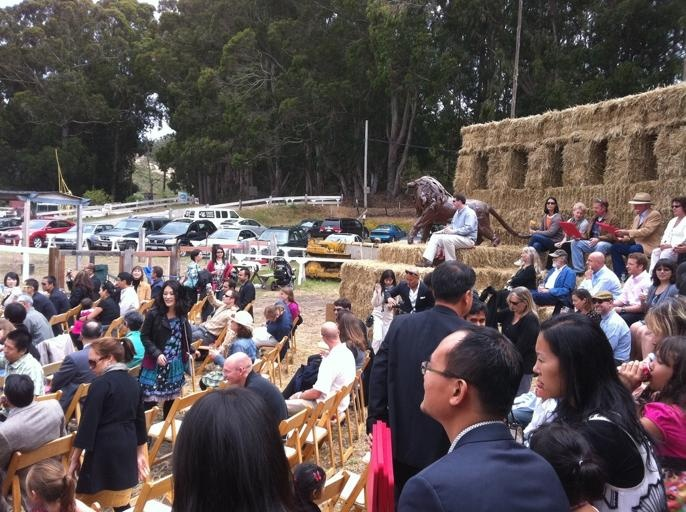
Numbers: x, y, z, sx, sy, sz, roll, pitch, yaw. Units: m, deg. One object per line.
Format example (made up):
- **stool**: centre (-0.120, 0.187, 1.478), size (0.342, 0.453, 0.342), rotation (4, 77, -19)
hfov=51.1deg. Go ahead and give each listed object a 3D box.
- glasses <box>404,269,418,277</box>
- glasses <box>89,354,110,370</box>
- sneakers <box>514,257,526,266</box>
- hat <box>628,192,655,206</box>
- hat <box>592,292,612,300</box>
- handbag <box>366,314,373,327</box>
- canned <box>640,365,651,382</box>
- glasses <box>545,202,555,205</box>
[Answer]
- **glasses**: centre (0.965, 0.237, 10.177), size (0.183, 0.091, 0.137), rotation (3, 4, 27)
- **glasses**: centre (-2.544, 1.118, 7.484), size (0.153, 0.064, 0.172), rotation (4, -14, 21)
- **sneakers**: centre (3.156, 0.124, 12.811), size (0.157, 0.211, 0.460), rotation (-2, -1, 23)
- **hat**: centre (5.019, -0.912, 11.913), size (0.421, 0.178, 0.367), rotation (6, -2, -39)
- **hat**: centre (3.166, 0.493, 8.673), size (0.174, 0.061, 0.113), rotation (7, -9, -41)
- **handbag**: centre (0.436, 1.076, 11.835), size (0.110, 0.179, 0.052), rotation (7, 2, -15)
- **canned**: centre (2.579, 1.010, 6.124), size (0.085, 0.130, 0.047), rotation (1, 3, -3)
- **glasses**: centre (3.873, -0.979, 13.340), size (0.134, 0.062, 0.092), rotation (3, 4, 15)
